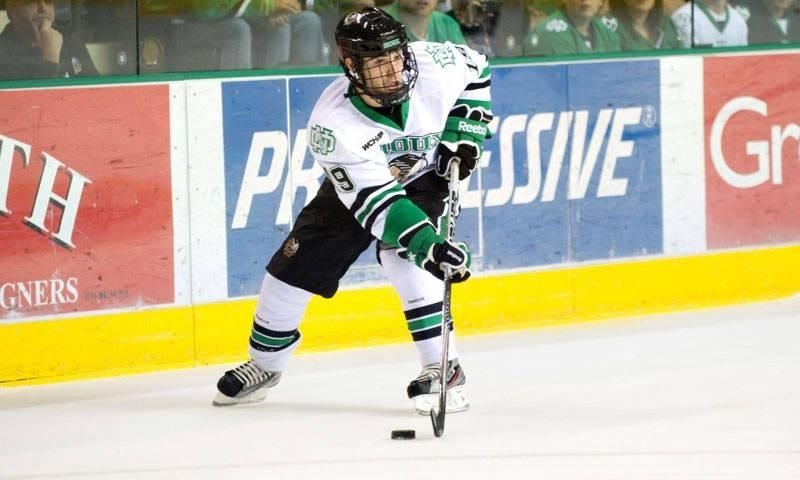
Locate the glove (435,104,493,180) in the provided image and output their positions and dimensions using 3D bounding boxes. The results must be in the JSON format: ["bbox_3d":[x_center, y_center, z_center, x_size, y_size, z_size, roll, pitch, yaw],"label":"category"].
[{"bbox_3d":[0.321,-0.498,5.984,0.253,0.378,0.141,23,-9,-29],"label":"glove"}]

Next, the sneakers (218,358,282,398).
[{"bbox_3d":[-0.792,0.741,6.276,0.376,0.120,0.149,-17,-5,-27],"label":"sneakers"}]

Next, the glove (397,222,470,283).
[{"bbox_3d":[0.197,0.073,5.675,0.305,0.126,0.291,28,-1,1],"label":"glove"}]

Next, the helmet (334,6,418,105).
[{"bbox_3d":[-0.106,-0.890,5.765,0.399,0.472,0.222,1,9,-1],"label":"helmet"}]
